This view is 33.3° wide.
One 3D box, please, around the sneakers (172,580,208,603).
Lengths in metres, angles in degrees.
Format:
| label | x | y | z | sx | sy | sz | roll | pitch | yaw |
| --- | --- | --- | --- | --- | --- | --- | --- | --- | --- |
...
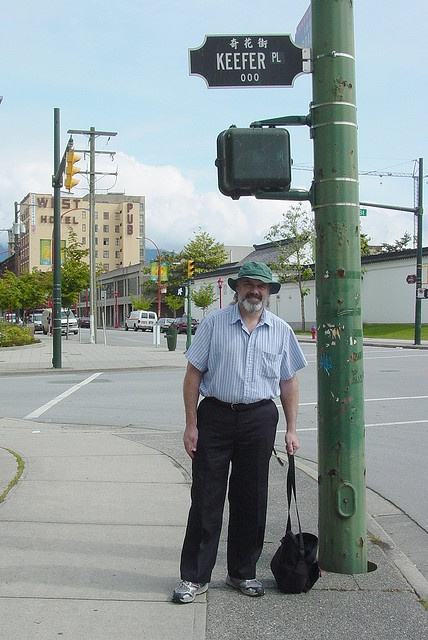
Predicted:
| label | x | y | z | sx | sy | sz | roll | pitch | yaw |
| --- | --- | --- | --- | --- | --- | --- | --- | --- | --- |
| sneakers | -0.118 | 1.315 | 3.459 | 0.064 | 0.075 | 0.166 | -11 | -18 | 43 |

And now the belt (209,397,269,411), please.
| label | x | y | z | sx | sy | sz | roll | pitch | yaw |
| --- | --- | --- | --- | --- | --- | --- | --- | --- | --- |
| belt | 0.136 | 0.413 | 3.593 | 0.321 | 0.059 | 0.097 | -1 | 2 | -10 |

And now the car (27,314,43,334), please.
| label | x | y | z | sx | sy | sz | roll | pitch | yaw |
| --- | --- | --- | --- | --- | --- | --- | --- | --- | --- |
| car | -13.965 | 0.223 | 55.937 | 1.396 | 1.476 | 2.730 | 1 | -4 | -24 |

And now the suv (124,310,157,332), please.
| label | x | y | z | sx | sy | sz | roll | pitch | yaw |
| --- | --- | --- | --- | --- | --- | --- | --- | --- | --- |
| suv | -5.856 | 0.004 | 57.361 | 1.913 | 1.646 | 3.626 | 1 | 6 | -17 |

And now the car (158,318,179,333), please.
| label | x | y | z | sx | sy | sz | roll | pitch | yaw |
| --- | --- | --- | --- | --- | --- | --- | --- | --- | --- |
| car | -3.732 | 0.180 | 55.539 | 0.931 | 0.751 | 2.125 | 1 | 9 | 11 |

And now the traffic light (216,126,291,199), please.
| label | x | y | z | sx | sy | sz | roll | pitch | yaw |
| --- | --- | --- | --- | --- | --- | --- | --- | --- | --- |
| traffic light | 0.236 | -0.855 | 3.992 | 0.418 | 0.420 | 0.259 | -2 | -16 | -1 |

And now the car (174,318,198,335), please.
| label | x | y | z | sx | sy | sz | roll | pitch | yaw |
| --- | --- | --- | --- | --- | --- | --- | --- | --- | --- |
| car | -2.128 | 0.365 | 50.168 | 1.013 | 0.864 | 2.519 | -1 | 7 | -8 |

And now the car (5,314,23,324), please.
| label | x | y | z | sx | sy | sz | roll | pitch | yaw |
| --- | --- | --- | --- | --- | --- | --- | --- | --- | --- |
| car | -18.704 | -0.202 | 66.827 | 1.396 | 1.511 | 2.619 | -2 | -2 | -21 |

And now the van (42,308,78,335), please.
| label | x | y | z | sx | sy | sz | roll | pitch | yaw |
| --- | --- | --- | --- | --- | --- | --- | --- | --- | --- |
| van | -8.555 | 0.079 | 39.531 | 1.555 | 1.683 | 3.201 | 1 | -6 | -28 |

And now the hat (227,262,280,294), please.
| label | x | y | z | sx | sy | sz | roll | pitch | yaw |
| --- | --- | --- | --- | --- | --- | --- | --- | --- | --- |
| hat | 0.225 | -0.221 | 3.746 | 0.171 | 0.089 | 0.218 | 4 | -21 | 6 |

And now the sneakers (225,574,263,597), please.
| label | x | y | z | sx | sy | sz | roll | pitch | yaw |
| --- | --- | --- | --- | --- | --- | --- | --- | --- | --- |
| sneakers | 0.163 | 1.316 | 3.564 | 0.067 | 0.068 | 0.153 | 7 | -10 | -41 |

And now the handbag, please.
| label | x | y | z | sx | sy | sz | roll | pitch | yaw |
| --- | --- | --- | --- | --- | --- | --- | --- | --- | --- |
| handbag | 0.417 | 1.013 | 3.682 | 0.252 | 0.644 | 0.444 | 0 | 2 | 8 |
